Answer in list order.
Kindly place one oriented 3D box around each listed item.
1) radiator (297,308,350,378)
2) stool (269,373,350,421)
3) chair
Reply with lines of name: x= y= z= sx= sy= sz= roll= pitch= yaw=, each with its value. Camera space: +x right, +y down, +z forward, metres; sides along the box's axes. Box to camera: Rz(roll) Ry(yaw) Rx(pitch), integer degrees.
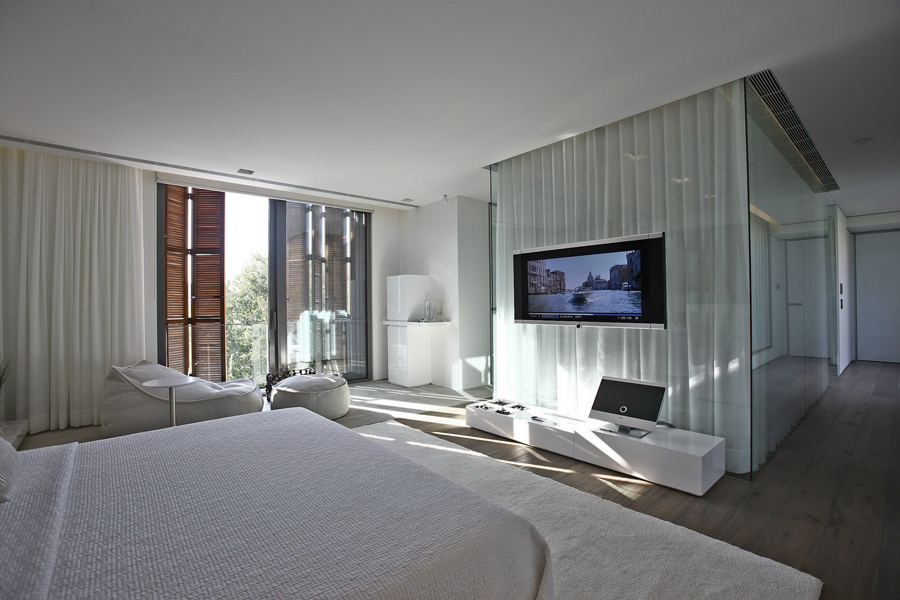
radiator: x=-1.871 y=0.593 z=8.293 sx=0.588 sy=0.669 sz=0.485 roll=-1 pitch=0 yaw=10
stool: x=-1.673 y=1.106 z=6.327 sx=0.600 sy=0.297 sz=0.600 roll=-3 pitch=-3 yaw=27
chair: x=-2.945 y=1.084 z=5.862 sx=1.269 sy=0.538 sz=0.963 roll=4 pitch=-6 yaw=-19
